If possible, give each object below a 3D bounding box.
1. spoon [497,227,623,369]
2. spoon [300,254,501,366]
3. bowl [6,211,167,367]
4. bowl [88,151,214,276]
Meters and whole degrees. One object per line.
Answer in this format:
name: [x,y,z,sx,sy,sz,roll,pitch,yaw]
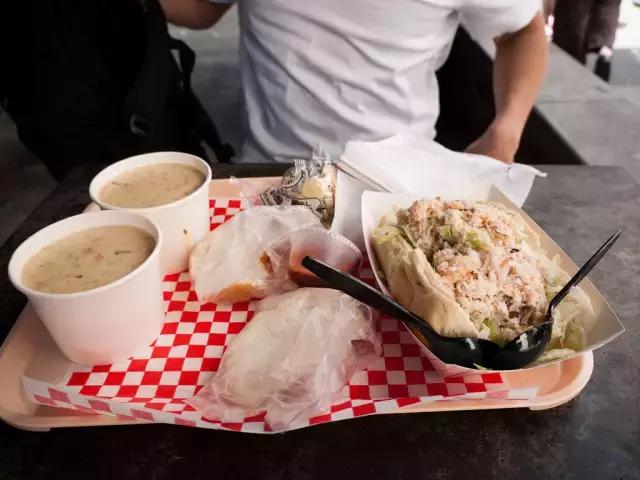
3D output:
spoon: [0.639,0.183,1.295,0.107,0.078,0.544,-7,18,47]
spoon: [0.195,0.200,1.271,0.558,0.102,0.119,25,11,23]
bowl: [-0.587,0.167,1.441,0.424,0.331,0.395,3,39,-2]
bowl: [-0.488,-0.062,1.675,0.415,0.326,0.399,3,41,-2]
